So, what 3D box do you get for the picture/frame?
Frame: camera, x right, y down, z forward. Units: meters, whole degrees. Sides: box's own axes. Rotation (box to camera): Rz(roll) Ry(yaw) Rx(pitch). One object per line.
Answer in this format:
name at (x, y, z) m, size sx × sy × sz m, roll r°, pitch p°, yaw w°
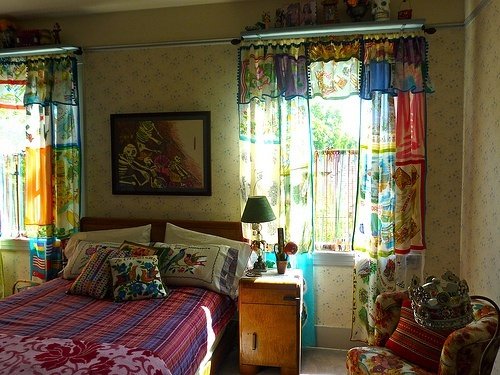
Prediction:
picture/frame at (-0.895, -0.376, 4.516) m, size 0.851 × 0.745 × 0.040 m, roll 1°, pitch 5°, yaw 10°
